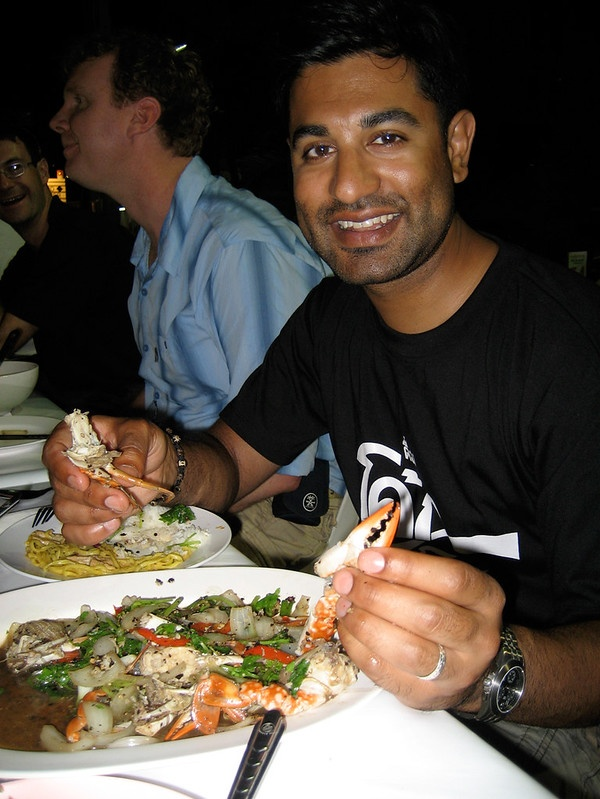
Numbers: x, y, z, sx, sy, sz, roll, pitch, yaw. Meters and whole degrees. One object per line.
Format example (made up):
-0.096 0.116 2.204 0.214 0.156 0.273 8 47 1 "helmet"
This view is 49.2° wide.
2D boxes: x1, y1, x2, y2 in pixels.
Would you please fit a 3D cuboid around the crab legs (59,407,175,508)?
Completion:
-0.472 0.161 1.723 0.195 0.284 0.101 -28 31 7 "crab legs"

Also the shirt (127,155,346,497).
-0.317 -0.280 3.322 0.864 1.524 1.748 -6 15 -20 "shirt"

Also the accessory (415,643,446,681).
0.185 0.362 0.916 0.047 0.043 0.012 -29 34 -30 "accessory"
